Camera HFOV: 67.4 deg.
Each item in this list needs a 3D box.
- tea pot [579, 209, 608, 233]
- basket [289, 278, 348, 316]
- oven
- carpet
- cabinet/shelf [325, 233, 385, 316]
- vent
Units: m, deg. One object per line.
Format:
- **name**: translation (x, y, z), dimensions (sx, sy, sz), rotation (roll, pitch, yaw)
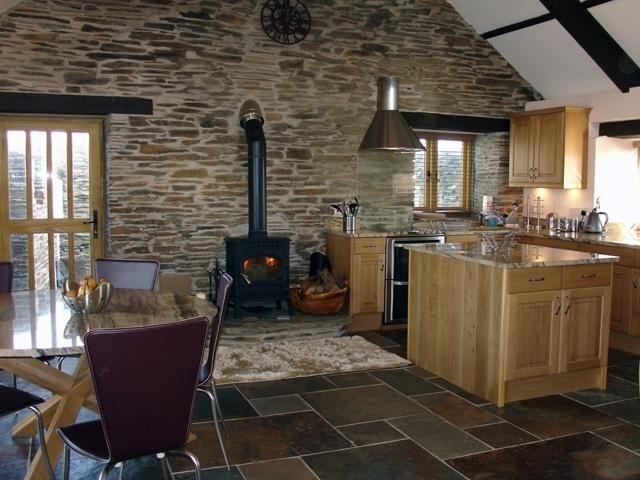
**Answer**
- **tea pot**: translation (3.520, -0.250, 6.204), dimensions (0.310, 0.313, 0.508), rotation (5, 9, 26)
- **basket**: translation (-0.012, 0.696, 5.822), dimensions (0.616, 0.179, 0.491), rotation (-3, 6, -28)
- **oven**: translation (1.071, 0.482, 5.966), dimensions (0.651, 1.123, 0.228), rotation (-6, 12, -36)
- **carpet**: translation (-0.247, 1.226, 5.076), dimensions (2.010, 0.068, 1.847), rotation (-3, -3, -5)
- **cabinet/shelf**: translation (0.395, 0.400, 5.955), dimensions (0.758, 0.983, 0.402), rotation (10, 13, 43)
- **vent**: translation (0.883, -1.663, 6.174), dimensions (1.043, 0.815, 0.919), rotation (-18, 32, -27)
